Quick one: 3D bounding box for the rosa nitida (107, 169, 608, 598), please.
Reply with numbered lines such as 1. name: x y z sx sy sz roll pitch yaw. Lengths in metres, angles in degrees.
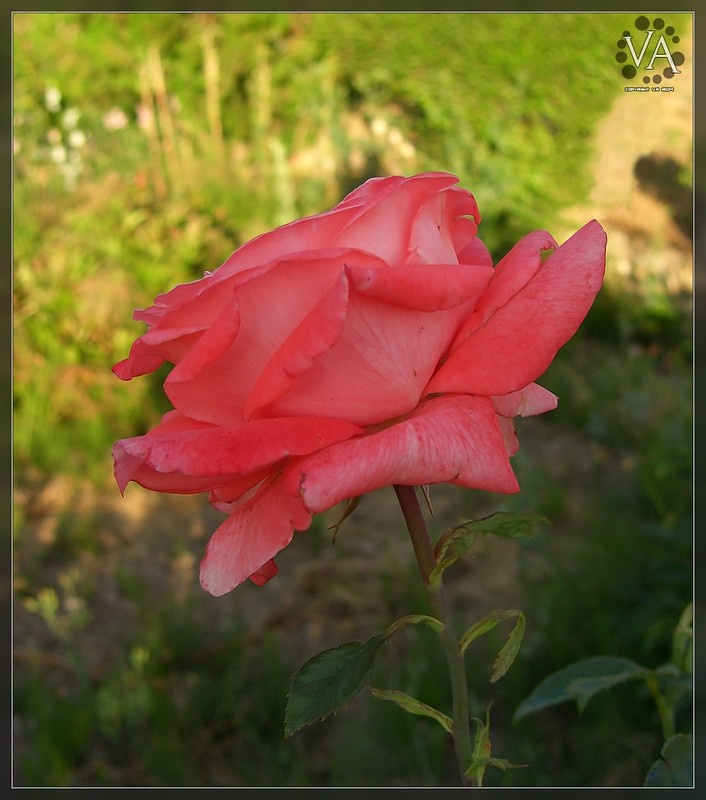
1. rosa nitida: 0.008 -0.010 0.509 0.308 0.232 0.175 -11 34 -12
